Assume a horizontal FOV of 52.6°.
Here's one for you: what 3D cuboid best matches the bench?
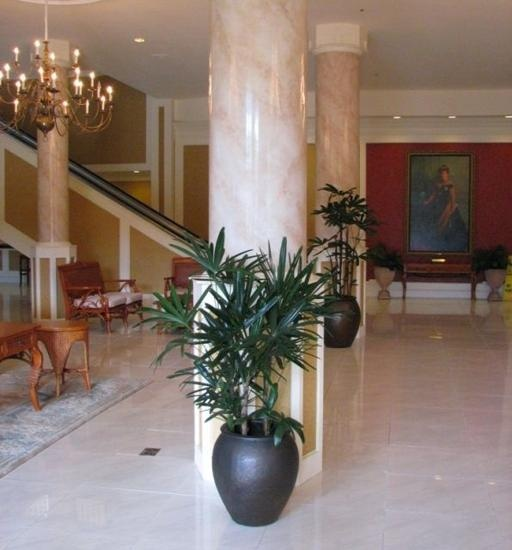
[{"bbox_3d":[-2.372,0.338,7.870,0.748,0.872,1.090,0,3,17],"label":"bench"}]

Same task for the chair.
[{"bbox_3d":[-1.176,0.197,8.509,0.754,0.935,0.616,2,3,-7],"label":"chair"}]

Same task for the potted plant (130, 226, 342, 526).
[{"bbox_3d":[-0.071,0.467,2.481,0.844,1.385,1.032,0,3,1],"label":"potted plant"}]

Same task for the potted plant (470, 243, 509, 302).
[{"bbox_3d":[5.481,-0.064,12.162,0.789,1.276,0.584,2,3,23],"label":"potted plant"}]
